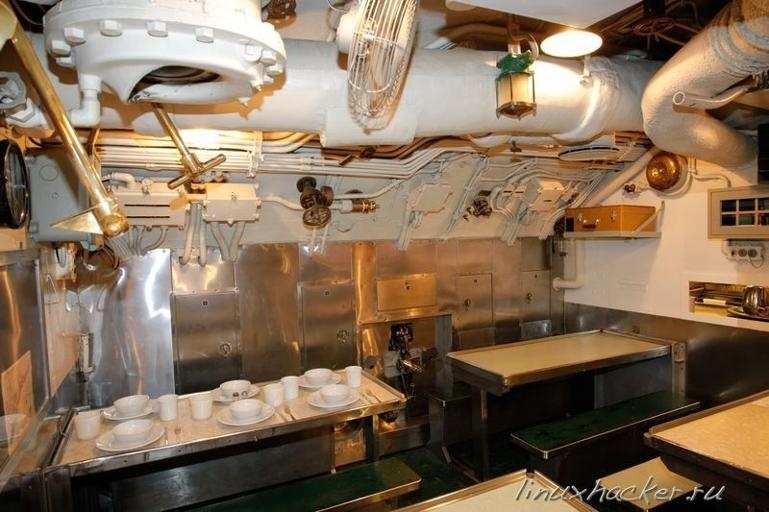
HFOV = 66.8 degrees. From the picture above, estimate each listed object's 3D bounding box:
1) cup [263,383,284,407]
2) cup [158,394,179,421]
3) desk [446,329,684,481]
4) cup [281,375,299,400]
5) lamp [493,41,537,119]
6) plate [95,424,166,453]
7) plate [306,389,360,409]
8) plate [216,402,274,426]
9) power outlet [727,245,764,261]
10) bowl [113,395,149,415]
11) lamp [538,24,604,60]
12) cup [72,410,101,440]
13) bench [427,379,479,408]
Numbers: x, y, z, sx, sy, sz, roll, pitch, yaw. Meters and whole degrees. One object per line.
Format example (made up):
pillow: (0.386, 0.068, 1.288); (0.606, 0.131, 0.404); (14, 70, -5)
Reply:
cup: (-0.944, 1.170, 4.913); (0.167, 0.136, 0.170); (0, -4, 0)
cup: (-1.773, 1.223, 4.726); (0.156, 0.223, 0.131); (-8, 1, -23)
desk: (1.999, 1.542, 6.260); (2.458, 1.138, 1.274); (-3, 4, -23)
cup: (-0.842, 1.145, 5.114); (0.134, 0.132, 0.198); (0, -3, -9)
lamp: (0.905, -1.238, 4.065); (0.307, 0.488, 0.408); (-8, 1, 11)
plate: (-1.920, 1.357, 4.358); (0.471, 0.204, 0.286); (-7, 1, -27)
plate: (-0.443, 1.204, 4.919); (0.446, 0.146, 0.291); (-7, 1, -8)
plate: (-1.135, 1.243, 4.696); (0.449, 0.199, 0.282); (-7, 1, -12)
power outlet: (3.474, -0.031, 5.585); (0.290, 0.135, 0.099); (8, 12, 42)
bowl: (-2.089, 1.214, 4.753); (0.269, 0.176, 0.198); (-8, 1, -26)
lamp: (1.223, -1.397, 3.827); (0.355, 0.163, 0.302); (-7, 1, 16)
cup: (-2.291, 1.292, 4.491); (0.221, 0.155, 0.197); (5, 1, -18)
bench: (0.753, 1.586, 6.719); (0.368, 0.338, 0.517); (0, 0, -28)
